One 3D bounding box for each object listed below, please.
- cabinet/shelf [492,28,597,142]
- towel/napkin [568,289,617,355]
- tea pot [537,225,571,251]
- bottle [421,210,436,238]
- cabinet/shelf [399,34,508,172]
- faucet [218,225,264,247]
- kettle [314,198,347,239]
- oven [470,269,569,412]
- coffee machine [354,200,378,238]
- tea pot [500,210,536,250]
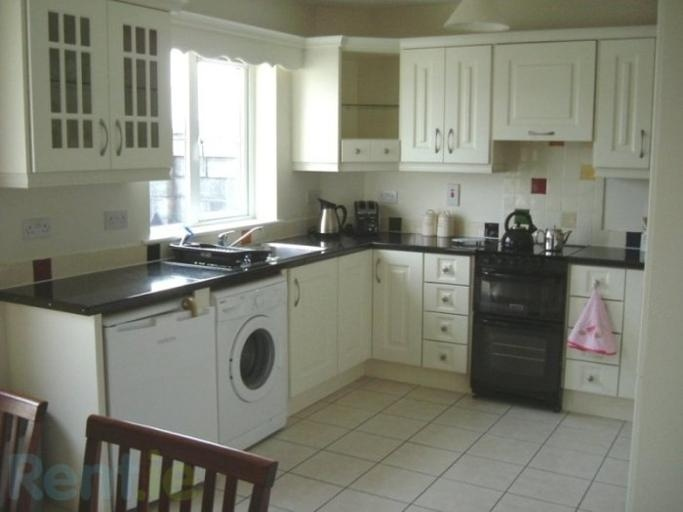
[{"bbox_3d":[1.451,-1.136,4.118,0.701,0.715,0.435,2,-4,12],"label":"cabinet/shelf"},{"bbox_3d":[1.686,0.420,3.737,0.319,0.406,0.241,7,-1,28],"label":"towel/napkin"},{"bbox_3d":[1.581,-0.141,4.100,0.287,0.216,0.172,-2,5,0],"label":"tea pot"},{"bbox_3d":[0.740,-0.275,4.676,0.121,0.205,0.154,1,11,8],"label":"bottle"},{"bbox_3d":[0.848,-1.184,4.440,0.687,0.965,0.487,2,10,17],"label":"cabinet/shelf"},{"bbox_3d":[-0.680,-0.128,3.842,0.251,0.142,0.719,-1,11,-5],"label":"faucet"},{"bbox_3d":[-0.072,-0.332,4.639,0.242,0.296,0.392,0,11,0],"label":"kettle"},{"bbox_3d":[1.344,0.535,4.200,0.686,0.983,0.663,3,4,18],"label":"oven"},{"bbox_3d":[0.220,-0.342,4.791,0.180,0.281,0.239,-1,16,0],"label":"coffee machine"},{"bbox_3d":[1.340,-0.190,4.195,0.266,0.410,0.215,3,8,32],"label":"tea pot"}]
